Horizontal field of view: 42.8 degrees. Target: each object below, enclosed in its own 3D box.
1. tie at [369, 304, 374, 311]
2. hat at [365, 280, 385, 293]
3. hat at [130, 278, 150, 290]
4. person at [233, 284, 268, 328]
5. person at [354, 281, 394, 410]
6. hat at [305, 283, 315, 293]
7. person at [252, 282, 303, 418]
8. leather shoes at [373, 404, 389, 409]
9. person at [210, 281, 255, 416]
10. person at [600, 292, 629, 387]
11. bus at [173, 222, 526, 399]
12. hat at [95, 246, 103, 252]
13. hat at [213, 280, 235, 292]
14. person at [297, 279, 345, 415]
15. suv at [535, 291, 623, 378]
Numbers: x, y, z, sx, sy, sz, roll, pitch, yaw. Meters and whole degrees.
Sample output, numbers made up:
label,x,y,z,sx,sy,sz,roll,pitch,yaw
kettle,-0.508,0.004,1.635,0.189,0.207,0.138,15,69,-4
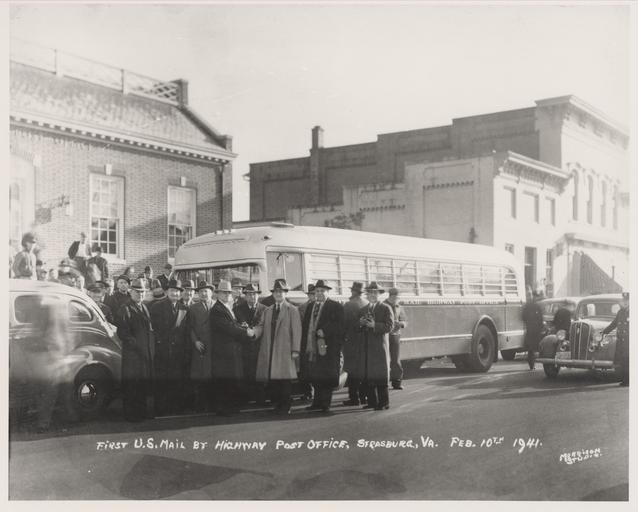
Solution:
label,x,y,z,sx,sy,sz,roll,pitch,yaw
tie,1.011,1.000,15.692,0.089,0.126,0.039,-4,-19,30
hat,1.085,0.626,15.869,0.318,0.135,0.359,0,-7,11
hat,-3.349,0.522,14.906,0.311,0.134,0.346,11,-7,-36
person,-1.300,0.995,15.854,0.742,0.893,0.313,3,-12,-14
person,1.090,1.699,15.488,0.648,2.391,0.440,-1,-4,4
hat,-0.167,0.635,15.768,0.163,0.198,0.158,0,-3,-3
person,-0.773,1.678,15.268,0.823,2.443,0.443,-2,-4,20
leather shoes,1.184,2.839,15.318,0.305,0.089,0.116,0,-4,-3
person,-1.658,1.681,14.959,0.695,2.408,0.365,0,-4,-8
person,6.519,1.787,17.410,0.489,1.976,0.911,1,-4,-19
bus,1.389,1.284,20.104,9.859,2.984,3.265,8,-9,-42
hat,-4.738,-0.141,17.501,0.125,0.093,0.125,7,-1,20
hat,-1.773,0.573,15.200,0.257,0.142,0.287,2,-5,-21
person,0.067,1.675,15.349,0.832,2.451,0.491,-1,-4,10
suv,5.996,1.773,18.372,1.335,1.265,2.501,-7,-12,40
